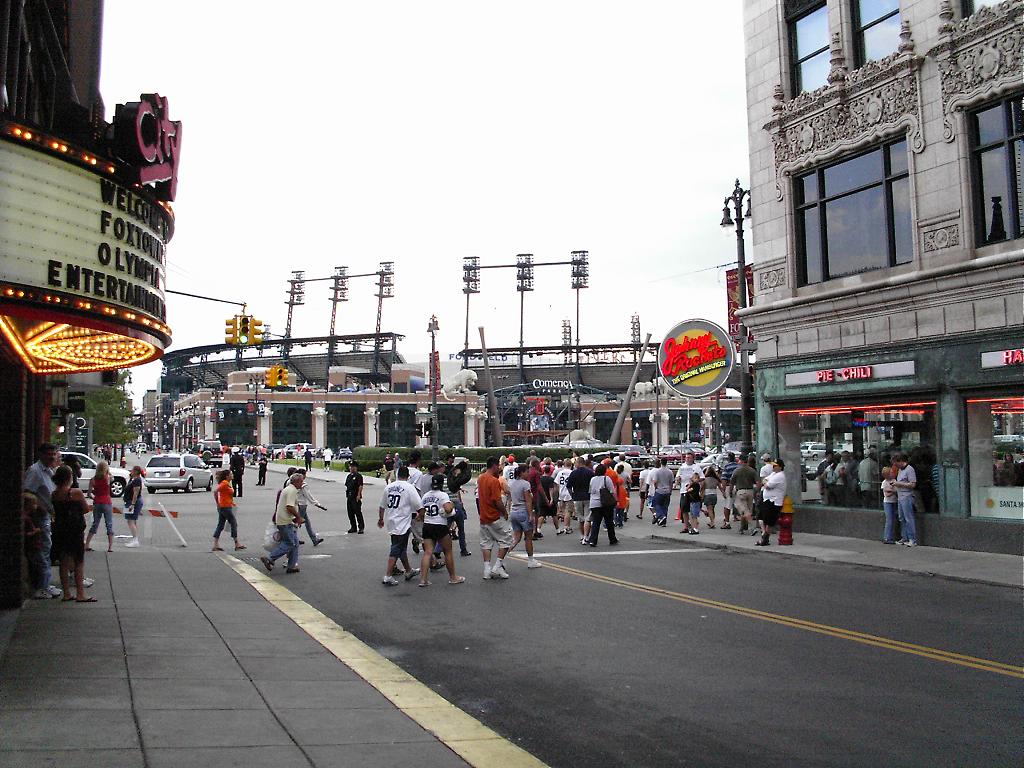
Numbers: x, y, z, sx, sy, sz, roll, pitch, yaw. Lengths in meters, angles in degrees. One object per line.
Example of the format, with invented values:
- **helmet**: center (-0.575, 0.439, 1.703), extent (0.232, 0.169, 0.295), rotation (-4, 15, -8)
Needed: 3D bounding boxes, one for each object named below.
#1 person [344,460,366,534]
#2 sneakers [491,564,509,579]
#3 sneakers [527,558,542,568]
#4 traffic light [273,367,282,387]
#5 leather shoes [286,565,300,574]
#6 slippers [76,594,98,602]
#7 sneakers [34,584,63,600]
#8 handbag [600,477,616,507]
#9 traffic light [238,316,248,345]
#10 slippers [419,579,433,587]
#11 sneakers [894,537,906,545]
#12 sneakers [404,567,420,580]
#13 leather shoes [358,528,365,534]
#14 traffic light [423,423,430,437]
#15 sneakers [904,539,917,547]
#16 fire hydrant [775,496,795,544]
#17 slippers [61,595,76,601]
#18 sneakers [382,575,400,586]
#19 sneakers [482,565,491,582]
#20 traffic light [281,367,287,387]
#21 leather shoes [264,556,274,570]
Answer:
- **person**: center (-4.312, 3.089, 27.302), extent (0.461, 1.520, 2.607), rotation (1, 0, -8)
- **sneakers**: center (-0.244, 3.474, 18.215), extent (0.148, 0.204, 0.417), rotation (6, -4, -24)
- **sneakers**: center (0.402, 3.592, 19.742), extent (0.126, 0.150, 0.307), rotation (1, 1, 24)
- **traffic light**: center (-11.828, -0.366, 49.982), extent (0.577, 0.818, 2.127), rotation (1, -1, -13)
- **leather shoes**: center (-4.260, 3.637, 19.210), extent (0.253, 0.120, 0.097), rotation (1, 0, -15)
- **slippers**: center (-6.473, 3.295, 15.060), extent (0.246, 0.099, 0.134), rotation (-2, -6, 9)
- **sneakers**: center (-7.201, 3.252, 15.443), extent (0.577, 0.270, 0.201), rotation (2, -5, 39)
- **handbag**: center (2.188, 2.522, 22.803), extent (0.238, 0.650, 0.328), rotation (0, -1, 33)
- **traffic light**: center (-8.891, -1.796, 32.707), extent (0.251, 0.804, 0.748), rotation (1, 0, -17)
- **slippers**: center (-1.560, 3.521, 17.430), extent (0.099, 0.135, 0.306), rotation (1, -1, 4)
- **sneakers**: center (8.609, 3.536, 22.032), extent (0.159, 0.121, 0.423), rotation (1, -1, 15)
- **sneakers**: center (-1.853, 3.522, 18.126), extent (0.105, 0.142, 0.299), rotation (1, 4, 27)
- **leather shoes**: center (-4.083, 3.993, 26.689), extent (0.106, 0.131, 0.112), rotation (0, -11, 0)
- **traffic light**: center (-4.327, 2.379, 50.101), extent (0.435, 0.634, 0.232), rotation (-2, 6, 3)
- **sneakers**: center (8.731, 3.516, 21.740), extent (0.267, 0.131, 0.289), rotation (1, -1, 19)
- **fire hydrant**: center (6.326, 3.187, 22.951), extent (0.304, 1.115, 0.473), rotation (1, 0, 11)
- **slippers**: center (-6.775, 3.281, 15.139), extent (0.201, 0.073, 0.202), rotation (1, -1, -31)
- **sneakers**: center (-2.146, 3.522, 17.650), extent (0.139, 0.192, 0.381), rotation (3, 1, 35)
- **sneakers**: center (-0.459, 3.432, 18.095), extent (0.130, 0.217, 0.223), rotation (1, 0, 0)
- **traffic light**: center (-11.718, -0.370, 50.858), extent (0.256, 0.689, 2.298), rotation (1, -1, -15)
- **leather shoes**: center (-4.719, 3.484, 19.160), extent (0.143, 0.348, 0.108), rotation (-17, 18, -3)
